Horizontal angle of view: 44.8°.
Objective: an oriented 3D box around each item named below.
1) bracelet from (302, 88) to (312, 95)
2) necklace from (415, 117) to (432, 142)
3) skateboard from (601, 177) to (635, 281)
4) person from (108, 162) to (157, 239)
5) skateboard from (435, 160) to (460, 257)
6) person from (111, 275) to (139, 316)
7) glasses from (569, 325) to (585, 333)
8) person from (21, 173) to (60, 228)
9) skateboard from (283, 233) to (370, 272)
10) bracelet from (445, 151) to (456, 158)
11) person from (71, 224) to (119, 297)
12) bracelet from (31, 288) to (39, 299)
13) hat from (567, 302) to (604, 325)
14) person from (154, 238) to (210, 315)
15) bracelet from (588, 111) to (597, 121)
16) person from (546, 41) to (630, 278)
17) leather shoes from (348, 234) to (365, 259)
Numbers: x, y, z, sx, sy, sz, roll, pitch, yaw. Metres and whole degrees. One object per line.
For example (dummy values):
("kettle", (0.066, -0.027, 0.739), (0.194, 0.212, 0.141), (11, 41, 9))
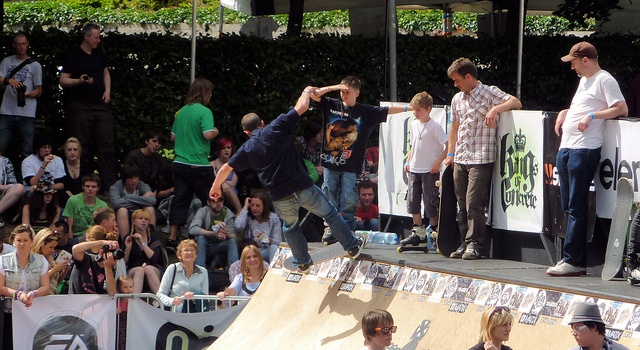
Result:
("bracelet", (-0.243, -1.570, 14.675), (0.115, 0.086, 0.116), (0, -4, -1))
("necklace", (2.060, -0.896, 15.384), (0.456, 0.442, 0.245), (-1, -6, 42))
("skateboard", (5.244, 0.911, 13.641), (0.427, 1.851, 0.327), (7, -3, 41))
("person", (-4.206, 0.605, 17.465), (0.955, 1.279, 2.191), (3, 31, -19))
("skateboard", (2.478, 0.695, 15.033), (0.441, 1.678, 0.296), (0, 11, -8))
("person", (-3.909, 2.389, 15.391), (0.666, 0.830, 0.440), (1, -22, -32))
("glasses", (4.198, 2.461, 12.554), (0.123, 0.039, 0.121), (-28, -10, 30))
("person", (-6.194, 0.587, 17.174), (0.810, 1.100, 0.317), (-3, 9, -22))
("skateboard", (0.150, 1.498, 14.979), (1.502, 0.355, 0.234), (-21, -25, 14))
("bracelet", (2.534, -0.395, 14.997), (0.166, 0.067, 0.123), (1, -2, 13))
("person", (-4.481, 1.747, 15.475), (1.096, 1.585, 0.896), (-1, 20, -7))
("bracelet", (-5.526, 2.274, 14.942), (0.178, 0.134, 0.065), (-8, 12, -44))
("hat", (4.326, 2.217, 12.547), (0.377, 0.208, 0.390), (3, -16, -27))
("person", (-2.830, 2.113, 15.878), (1.039, 2.034, 0.990), (3, -24, -14))
("bracelet", (4.849, -1.042, 13.779), (0.112, 0.122, 0.056), (1, 8, 10))
("person", (4.734, -0.278, 13.923), (1.102, 4.103, 0.625), (-1, 8, -3))
("leather shoes", (0.743, 1.378, 14.830), (0.186, 0.226, 0.565), (3, 42, 36))
